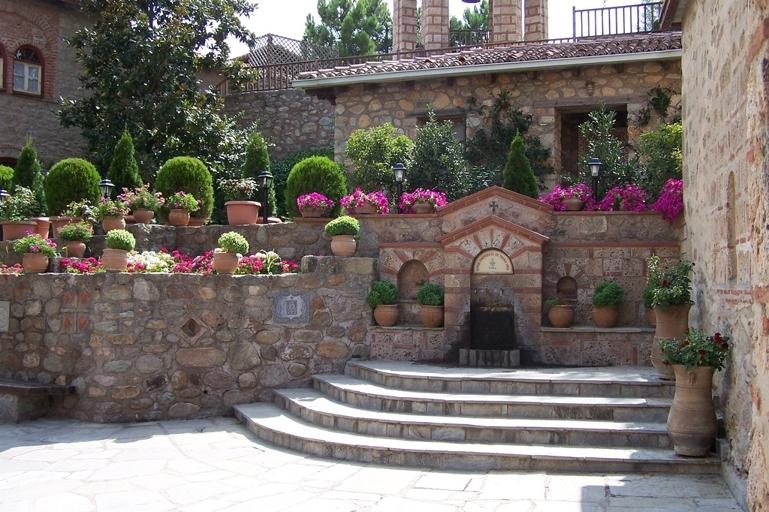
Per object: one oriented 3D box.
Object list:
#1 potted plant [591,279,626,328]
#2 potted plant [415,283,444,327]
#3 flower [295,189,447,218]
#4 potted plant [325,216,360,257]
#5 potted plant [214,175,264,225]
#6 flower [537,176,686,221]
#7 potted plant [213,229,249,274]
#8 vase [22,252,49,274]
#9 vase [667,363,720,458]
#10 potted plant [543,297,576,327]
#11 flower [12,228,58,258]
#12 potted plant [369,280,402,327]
[{"bbox_3d":[3.818,0.846,12.749,0.497,0.779,0.294,-1,0,15],"label":"potted plant"},{"bbox_3d":[0.923,0.893,13.394,0.629,0.840,0.705,1,-3,-24],"label":"potted plant"},{"bbox_3d":[-0.244,-1.027,14.455,2.908,0.516,0.864,-1,0,16],"label":"flower"},{"bbox_3d":[-0.741,-0.344,13.698,0.676,0.745,0.401,-1,0,-20],"label":"potted plant"},{"bbox_3d":[-3.027,-1.117,15.536,0.853,0.936,0.762,4,3,-13],"label":"potted plant"},{"bbox_3d":[4.168,-0.948,13.405,2.388,0.774,1.150,0,0,27],"label":"flower"},{"bbox_3d":[-2.752,-0.058,13.071,0.652,0.886,0.752,2,-1,31],"label":"potted plant"},{"bbox_3d":[-6.186,0.129,13.215,0.370,0.264,0.354,3,3,39],"label":"vase"},{"bbox_3d":[4.015,2.026,9.732,0.594,1.165,0.358,-1,0,21],"label":"vase"},{"bbox_3d":[3.069,1.023,12.973,0.527,0.426,0.452,2,-11,2],"label":"potted plant"},{"bbox_3d":[-6.209,-0.183,13.258,0.637,0.299,0.562,5,-2,-32],"label":"flower"},{"bbox_3d":[0.054,0.847,13.343,0.697,0.928,0.736,-2,0,-23],"label":"potted plant"}]
